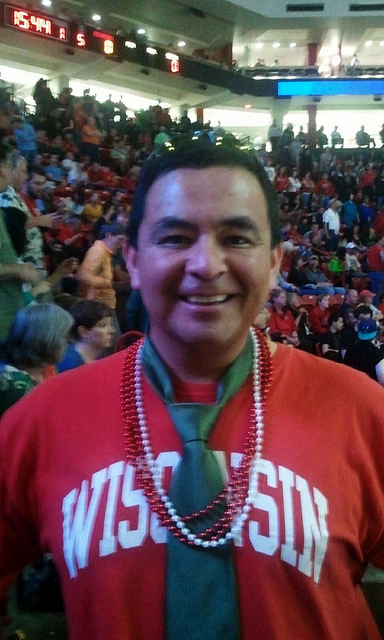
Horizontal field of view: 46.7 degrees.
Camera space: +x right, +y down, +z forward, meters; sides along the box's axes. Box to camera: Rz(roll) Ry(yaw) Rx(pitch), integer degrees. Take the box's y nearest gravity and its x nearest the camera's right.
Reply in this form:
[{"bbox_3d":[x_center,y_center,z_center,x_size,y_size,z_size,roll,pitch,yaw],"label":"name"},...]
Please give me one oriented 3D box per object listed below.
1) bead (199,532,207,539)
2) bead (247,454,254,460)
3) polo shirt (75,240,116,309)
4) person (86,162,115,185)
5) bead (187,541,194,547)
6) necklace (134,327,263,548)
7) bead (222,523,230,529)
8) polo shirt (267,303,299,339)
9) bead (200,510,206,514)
[{"bbox_3d":[0.017,0.330,0.681,0.008,0.005,0.010,-1,-6,6],"label":"bead"},{"bbox_3d":[0.097,0.230,0.744,0.011,0.006,0.006,2,18,-4],"label":"bead"},{"bbox_3d":[-0.882,-0.454,4.302,0.336,0.601,0.630,9,7,2],"label":"polo shirt"},{"bbox_3d":[-2.330,-3.680,11.271,0.631,0.873,0.271,0,-15,-21],"label":"person"},{"bbox_3d":[-0.002,0.340,0.674,0.006,0.005,0.008,-1,-16,-3],"label":"bead"},{"bbox_3d":[0.041,0.185,0.796,0.263,0.235,0.319,-2,19,-17],"label":"necklace"},{"bbox_3d":[0.052,0.318,0.684,0.009,0.007,0.004,-4,-2,-14],"label":"bead"},{"bbox_3d":[1.349,0.018,6.708,0.456,0.480,0.283,3,-21,-16],"label":"polo shirt"},{"bbox_3d":[0.017,0.301,0.695,0.006,0.005,0.005,4,46,-20],"label":"bead"}]
